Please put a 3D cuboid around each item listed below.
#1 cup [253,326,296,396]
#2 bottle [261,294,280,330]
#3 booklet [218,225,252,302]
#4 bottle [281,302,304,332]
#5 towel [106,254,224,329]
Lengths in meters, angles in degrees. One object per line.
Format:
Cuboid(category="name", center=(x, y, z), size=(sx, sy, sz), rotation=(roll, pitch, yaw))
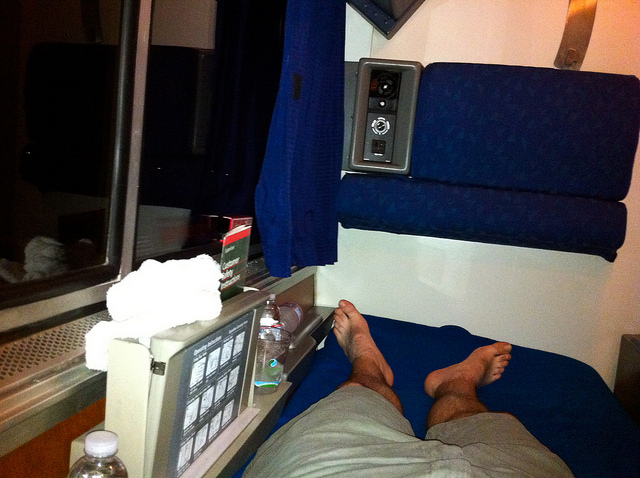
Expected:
Cuboid(category="cup", center=(-0.150, 0.354, 1.316), size=(0.130, 0.149, 0.108), rotation=(11, -15, -23))
Cuboid(category="bottle", center=(-0.140, 0.222, 1.475), size=(0.061, 0.061, 0.159), rotation=(19, -36, 14))
Cuboid(category="booklet", center=(-0.207, 0.056, 1.110), size=(0.019, 0.186, 0.166), rotation=(11, 13, 13))
Cuboid(category="bottle", center=(-0.096, 0.304, 1.745), size=(0.073, 0.121, 0.072), rotation=(7, -6, 1))
Cuboid(category="towel", center=(-0.296, 0.082, 0.882), size=(0.201, 0.134, 0.053), rotation=(2, -26, -24))
